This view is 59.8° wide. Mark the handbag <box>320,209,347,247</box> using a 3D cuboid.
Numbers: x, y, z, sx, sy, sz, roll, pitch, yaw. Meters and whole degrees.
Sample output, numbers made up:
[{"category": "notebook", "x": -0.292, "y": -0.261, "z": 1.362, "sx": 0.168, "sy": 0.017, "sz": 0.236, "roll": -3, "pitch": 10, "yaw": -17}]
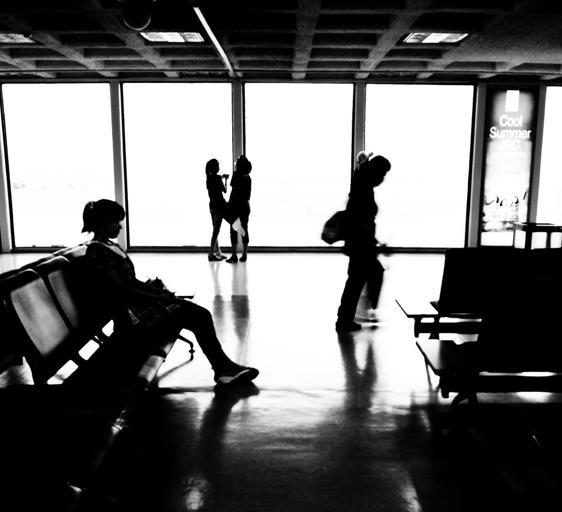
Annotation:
[{"category": "handbag", "x": 0.515, "y": -0.261, "z": 4.596, "sx": 0.230, "sy": 0.308, "sz": 0.083, "roll": -2, "pitch": -9, "yaw": 33}]

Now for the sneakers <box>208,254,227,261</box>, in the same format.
[{"category": "sneakers", "x": -1.109, "y": 0.027, "z": 8.645, "sx": 0.337, "sy": 0.134, "sz": 0.112, "roll": -3, "pitch": 4, "yaw": -8}]

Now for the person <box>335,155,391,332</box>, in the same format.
[{"category": "person", "x": 0.756, "y": -0.096, "z": 4.559, "sx": 0.397, "sy": 1.636, "sz": 0.298, "roll": 4, "pitch": 11, "yaw": 11}]
